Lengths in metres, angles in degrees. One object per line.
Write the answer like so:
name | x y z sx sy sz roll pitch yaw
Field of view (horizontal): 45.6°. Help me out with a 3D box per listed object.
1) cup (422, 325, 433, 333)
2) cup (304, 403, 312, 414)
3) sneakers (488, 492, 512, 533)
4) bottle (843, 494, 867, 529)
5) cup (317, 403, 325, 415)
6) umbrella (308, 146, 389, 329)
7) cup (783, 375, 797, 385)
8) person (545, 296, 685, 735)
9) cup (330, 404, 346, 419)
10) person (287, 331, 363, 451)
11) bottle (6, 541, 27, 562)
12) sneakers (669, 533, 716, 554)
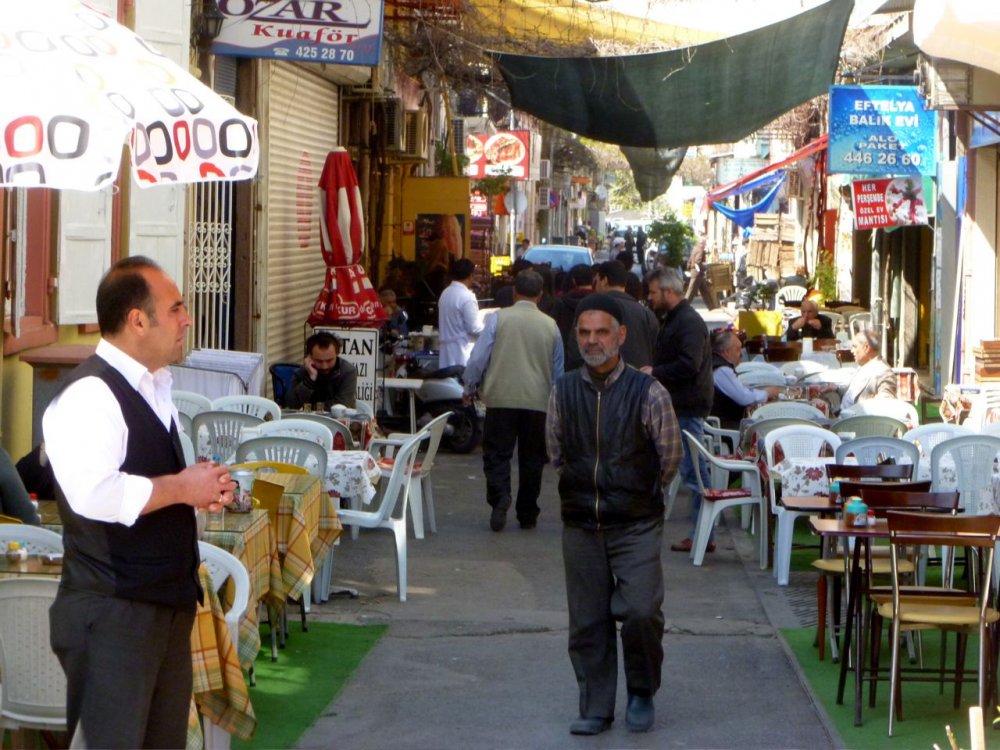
cup | -1.078 -0.677 17.632 0.119 0.116 0.135 3 4 29
cup | -1.806 0.313 11.144 0.068 0.096 0.077 1 0 -5
sneakers | -0.005 1.296 11.193 0.140 0.403 0.151 12 -10 2
bottle | 2.113 0.821 7.064 0.118 0.197 0.126 0 -2 0
cup | -1.679 0.307 11.167 0.065 0.151 0.073 0 -1 2
umbrella | -1.897 -1.681 14.540 0.914 2.194 0.494 2 4 16
cup | 3.392 0.056 13.824 0.114 0.106 0.128 1 0 8
person | 0.601 0.742 6.326 0.727 2.342 0.362 1 4 13
cup | -1.469 0.322 10.766 0.093 0.150 0.129 12 6 4
person | -1.701 0.213 11.387 0.615 1.323 0.760 10 15 35
bottle | -2.256 0.826 5.524 0.099 0.113 0.074 8 -22 -21
sneakers | 1.728 1.506 10.580 0.410 0.217 0.167 4 4 0
